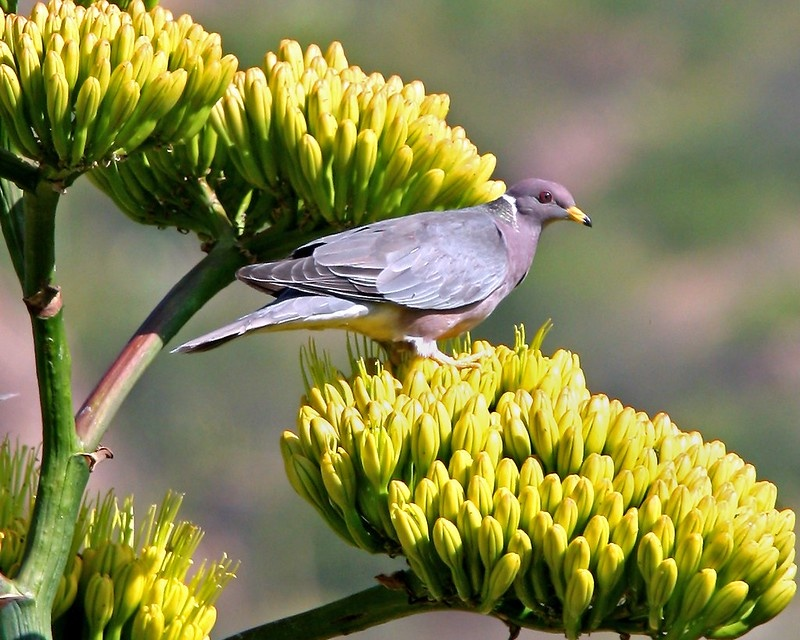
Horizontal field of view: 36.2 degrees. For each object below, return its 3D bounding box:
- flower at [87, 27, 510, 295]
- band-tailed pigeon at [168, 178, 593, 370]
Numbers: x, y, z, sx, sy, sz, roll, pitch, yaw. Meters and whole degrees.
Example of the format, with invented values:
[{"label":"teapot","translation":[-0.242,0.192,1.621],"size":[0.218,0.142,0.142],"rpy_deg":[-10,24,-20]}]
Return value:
[{"label":"flower","translation":[-0.352,-0.468,2.899],"size":[0.848,0.514,1.068],"rpy_deg":[-6,13,-34]},{"label":"band-tailed pigeon","translation":[-0.014,-0.112,2.671],"size":[0.898,0.457,0.281],"rpy_deg":[2,-4,-17]}]
